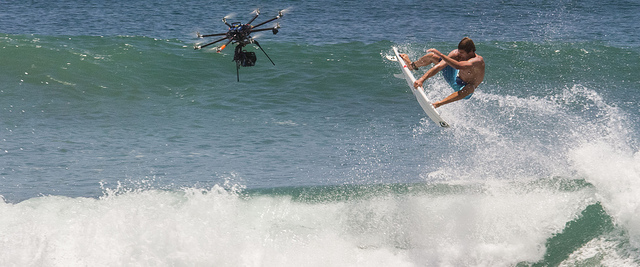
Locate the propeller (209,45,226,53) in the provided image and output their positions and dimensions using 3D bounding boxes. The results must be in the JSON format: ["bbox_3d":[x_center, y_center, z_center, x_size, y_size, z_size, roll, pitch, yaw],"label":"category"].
[{"bbox_3d":[-5.403,-4.429,42.274,0.470,0.232,0.954,20,-5,-13],"label":"propeller"}]

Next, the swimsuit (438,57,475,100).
[{"bbox_3d":[7.236,-3.058,44.459,1.058,1.999,2.310,-22,21,-7],"label":"swimsuit"}]

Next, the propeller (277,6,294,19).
[{"bbox_3d":[-2.051,-6.407,43.006,0.813,0.305,1.657,-5,12,0],"label":"propeller"}]

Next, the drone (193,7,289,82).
[{"bbox_3d":[-4.158,-4.550,42.840,3.760,4.017,2.727,5,27,13],"label":"drone"}]
